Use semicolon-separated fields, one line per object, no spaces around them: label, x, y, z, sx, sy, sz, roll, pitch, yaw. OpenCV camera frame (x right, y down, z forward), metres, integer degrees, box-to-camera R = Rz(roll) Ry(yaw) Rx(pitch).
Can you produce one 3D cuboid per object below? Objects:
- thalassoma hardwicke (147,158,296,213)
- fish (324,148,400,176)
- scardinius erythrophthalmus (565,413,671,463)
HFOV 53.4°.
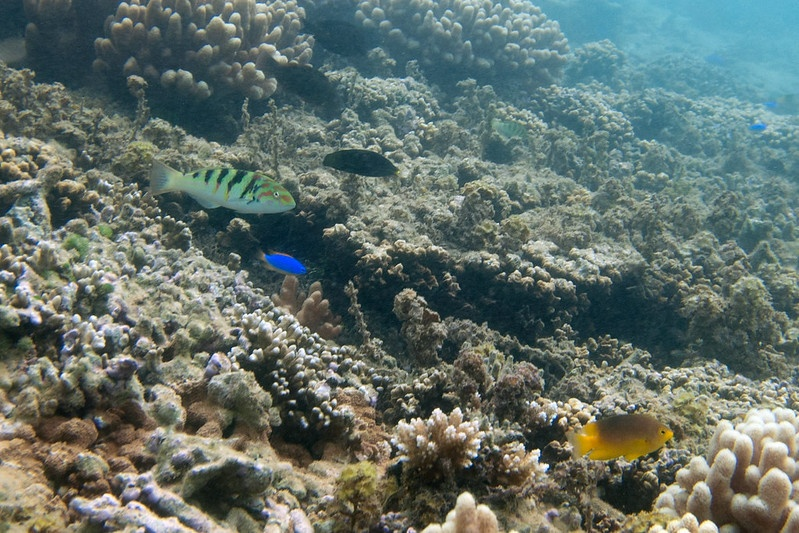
thalassoma hardwicke;-3.395;-1.500;15.265;2.694;1.009;0.814;6;32;-9
fish;-0.797;-2.017;15.769;1.112;0.584;1.567;-5;13;-22
scardinius erythrophthalmus;3.912;3.086;13.967;1.767;0.451;0.893;-7;57;8
